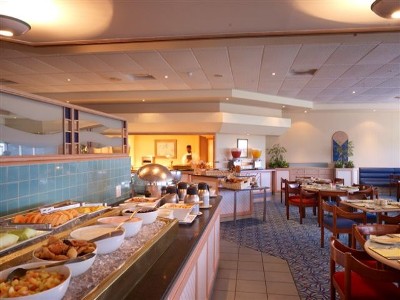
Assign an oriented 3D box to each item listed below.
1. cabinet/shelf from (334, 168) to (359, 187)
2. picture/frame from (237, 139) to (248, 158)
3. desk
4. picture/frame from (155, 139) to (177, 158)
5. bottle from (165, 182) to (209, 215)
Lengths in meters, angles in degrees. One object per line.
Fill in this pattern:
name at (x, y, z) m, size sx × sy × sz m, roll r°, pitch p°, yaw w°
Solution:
cabinet/shelf at (5.127, 0.945, 10.132) m, size 0.707 × 1.140 × 0.674 m, roll -1°, pitch -5°, yaw 15°
picture/frame at (1.497, -0.082, 10.334) m, size 0.063 × 0.819 × 0.763 m, roll -1°, pitch -2°, yaw 40°
desk at (1.246, 1.265, 7.652) m, size 0.987 × 0.891 × 2.822 m, roll 0°, pitch 1°, yaw 18°
picture/frame at (-1.530, -0.021, 12.757) m, size 0.975 × 0.732 × 0.061 m, roll 0°, pitch -2°, yaw -2°
bottle at (-0.135, 0.516, 3.161) m, size 0.373 × 0.320 × 0.207 m, roll -2°, pitch -1°, yaw 15°
